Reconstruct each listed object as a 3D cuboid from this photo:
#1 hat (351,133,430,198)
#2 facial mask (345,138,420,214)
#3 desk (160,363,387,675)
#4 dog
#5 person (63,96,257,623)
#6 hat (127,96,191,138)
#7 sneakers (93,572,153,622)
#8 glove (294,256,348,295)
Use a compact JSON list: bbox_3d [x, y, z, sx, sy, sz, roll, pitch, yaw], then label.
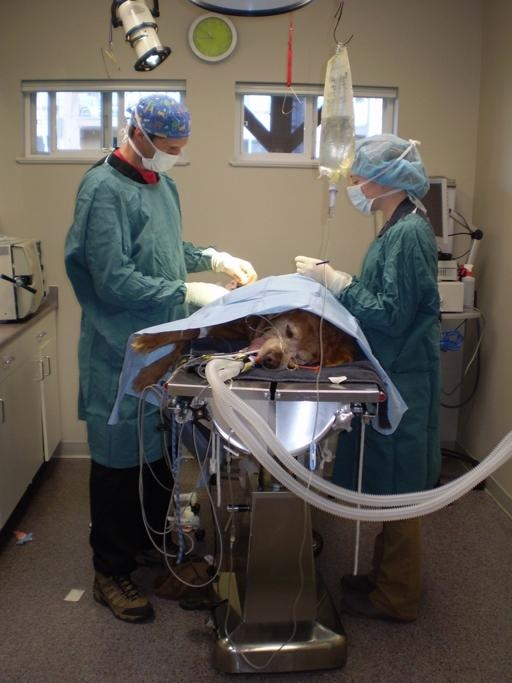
[{"bbox_3d":[0.374,-0.493,1.618,0.206,0.174,0.096,2,10,14],"label":"hat"},{"bbox_3d":[0.388,-0.496,1.658,0.207,0.193,0.177,-6,9,12],"label":"facial mask"},{"bbox_3d":[0.037,0.440,1.435,0.414,0.922,0.801,0,10,0],"label":"desk"},{"bbox_3d":[-0.054,0.036,1.324,0.528,0.222,0.252,4,11,22],"label":"dog"},{"bbox_3d":[-0.324,0.037,1.858,0.448,1.506,0.512,8,13,24],"label":"person"},{"bbox_3d":[-0.257,-0.621,1.590,0.110,0.091,0.151,-3,58,-16],"label":"hat"},{"bbox_3d":[-0.420,0.804,1.858,0.086,0.121,0.237,-2,-2,-43],"label":"sneakers"},{"bbox_3d":[0.171,-0.158,1.576,0.134,0.046,0.102,34,20,31],"label":"glove"}]
